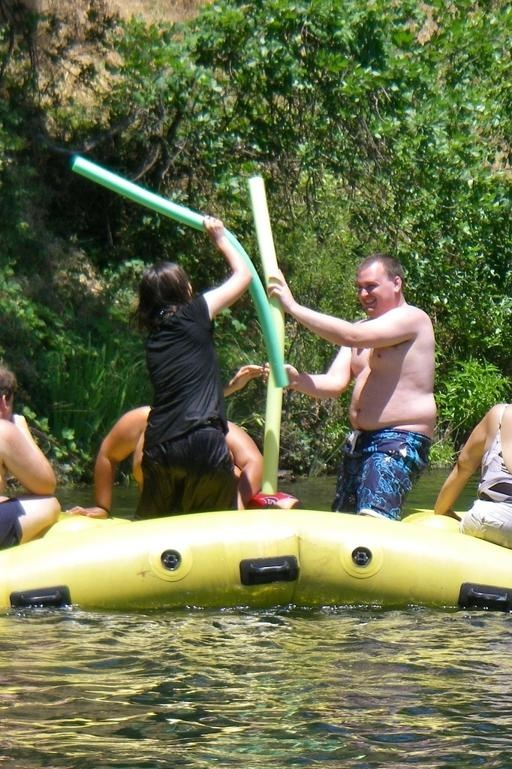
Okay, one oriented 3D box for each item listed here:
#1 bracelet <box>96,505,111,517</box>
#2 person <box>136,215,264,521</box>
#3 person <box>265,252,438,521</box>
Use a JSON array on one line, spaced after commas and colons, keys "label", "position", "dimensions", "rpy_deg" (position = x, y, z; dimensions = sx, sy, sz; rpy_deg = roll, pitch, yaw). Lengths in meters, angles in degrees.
[{"label": "bracelet", "position": [-0.655, 0.550, 4.339], "dimensions": [0.065, 0.049, 0.047], "rpy_deg": [4, -1, -28]}, {"label": "person", "position": [-0.225, -0.044, 3.761], "dimensions": [0.434, 1.174, 0.423], "rpy_deg": [-3, 7, -13]}, {"label": "person", "position": [0.398, 0.032, 4.091], "dimensions": [0.627, 1.115, 0.762], "rpy_deg": [1, 7, 18]}]
